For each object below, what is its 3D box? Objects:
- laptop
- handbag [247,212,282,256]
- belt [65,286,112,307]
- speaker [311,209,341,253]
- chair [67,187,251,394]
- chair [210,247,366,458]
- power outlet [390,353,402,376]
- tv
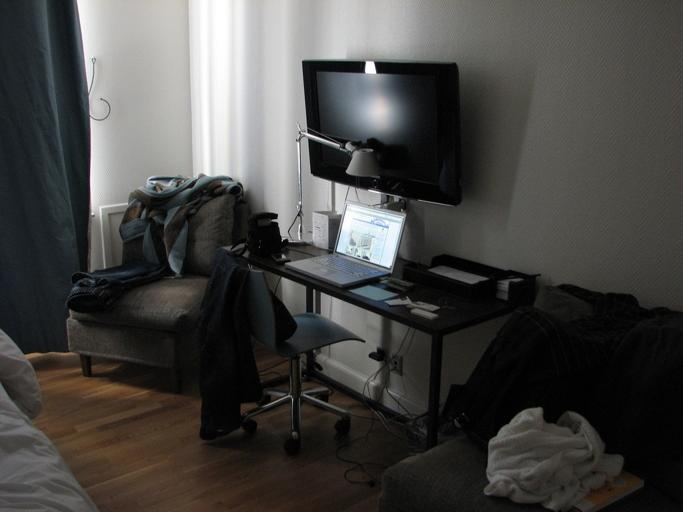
[{"bbox_3d":[0.018,-0.075,2.919,0.461,0.313,0.508,-11,18,-36],"label":"laptop"},{"bbox_3d":[-0.472,-0.132,3.253,0.237,0.252,0.177,-11,14,-40],"label":"handbag"},{"bbox_3d":[-1.571,0.268,3.390,0.155,0.065,0.159,1,17,0],"label":"belt"},{"bbox_3d":[-0.094,-0.161,3.354,0.192,0.188,0.153,8,13,38],"label":"speaker"},{"bbox_3d":[-1.328,0.169,3.884,0.845,1.093,1.117,4,12,0],"label":"chair"},{"bbox_3d":[-0.325,0.488,2.964,0.815,1.003,0.678,-4,15,-21],"label":"chair"},{"bbox_3d":[0.318,0.639,3.191,0.020,0.132,0.118,-6,12,-30],"label":"power outlet"},{"bbox_3d":[0.183,-0.692,2.934,0.169,0.717,1.069,-10,18,-39],"label":"tv"}]
